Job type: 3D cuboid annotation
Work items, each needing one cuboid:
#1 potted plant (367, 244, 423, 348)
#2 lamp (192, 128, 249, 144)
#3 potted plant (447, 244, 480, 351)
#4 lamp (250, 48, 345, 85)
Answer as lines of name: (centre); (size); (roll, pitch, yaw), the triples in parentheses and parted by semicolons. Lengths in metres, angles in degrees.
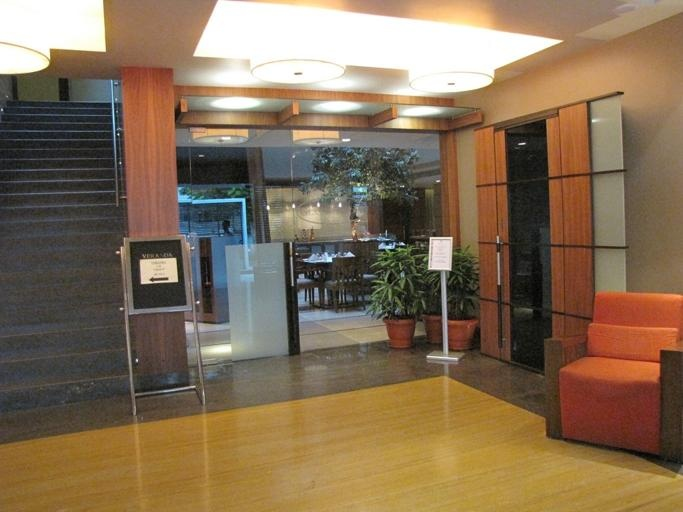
potted plant: (0.832, 0.585, 7.504); (0.772, 1.375, 0.579); (-7, 13, -16)
lamp: (-1.583, -1.550, 6.789); (0.397, 0.062, 0.360); (0, 0, -35)
potted plant: (1.705, 0.610, 7.340); (0.421, 1.324, 0.746); (-1, 12, 13)
lamp: (-0.482, -1.917, 5.394); (0.684, 0.102, 0.545); (-1, -2, -8)
